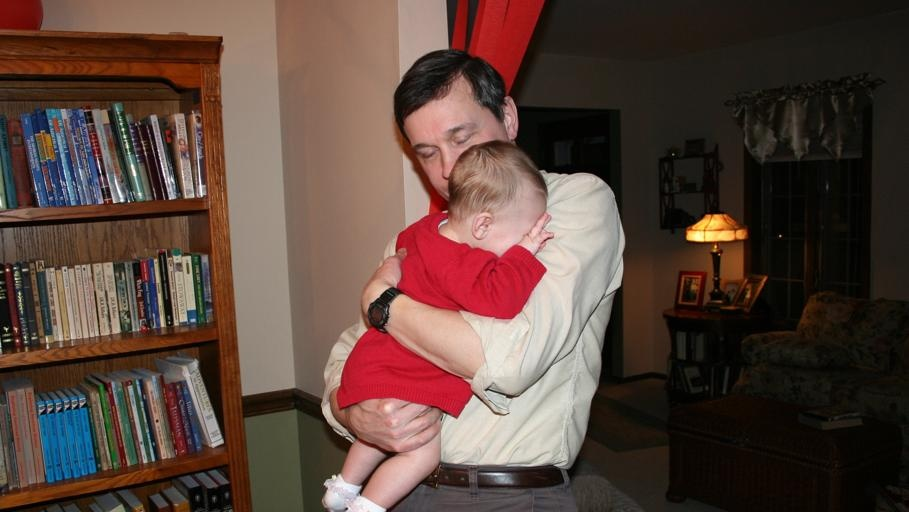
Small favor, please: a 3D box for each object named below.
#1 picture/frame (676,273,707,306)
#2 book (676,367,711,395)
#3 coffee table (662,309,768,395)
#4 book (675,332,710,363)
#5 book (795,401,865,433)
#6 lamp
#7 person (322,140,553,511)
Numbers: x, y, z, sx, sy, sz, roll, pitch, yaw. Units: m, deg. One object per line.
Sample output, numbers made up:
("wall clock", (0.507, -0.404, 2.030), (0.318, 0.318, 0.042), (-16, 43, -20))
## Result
("picture/frame", (2.684, 0.387, 7.146), (0.044, 0.505, 0.396), (24, -14, -40))
("book", (2.616, 1.364, 6.891), (0.345, 0.287, 0.087), (-4, 1, 11))
("coffee table", (2.724, 1.067, 6.887), (1.072, 0.975, 0.982), (-2, 5, -28))
("book", (2.617, 1.009, 6.895), (0.455, 0.375, 0.102), (1, -1, 11))
("book", (2.867, 1.232, 4.771), (0.254, 0.053, 0.247), (-4, 4, -32))
("lamp", (2.800, 0.014, 6.885), (0.556, 0.970, 0.682), (-2, 7, 8))
("person", (0.137, 0.402, 3.094), (0.956, 1.727, 0.569), (27, 9, 42))
